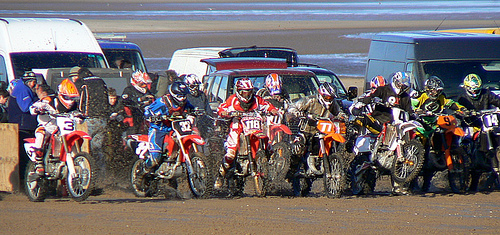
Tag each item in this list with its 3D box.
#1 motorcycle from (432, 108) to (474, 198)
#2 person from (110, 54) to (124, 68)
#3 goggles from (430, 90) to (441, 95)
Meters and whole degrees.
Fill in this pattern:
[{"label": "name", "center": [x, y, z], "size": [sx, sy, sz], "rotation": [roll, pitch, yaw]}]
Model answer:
[{"label": "motorcycle", "center": [7.967, 1.343, 35.677], "size": [1.615, 3.518, 1.955], "rotation": [2, 2, 9]}, {"label": "person", "center": [-6.724, -2.768, 44.788], "size": [0.582, 0.675, 0.711], "rotation": [3, -40, -14]}, {"label": "goggles", "center": [7.250, -0.965, 35.273], "size": [0.420, 0.173, 0.132], "rotation": [1, -5, -11]}]
